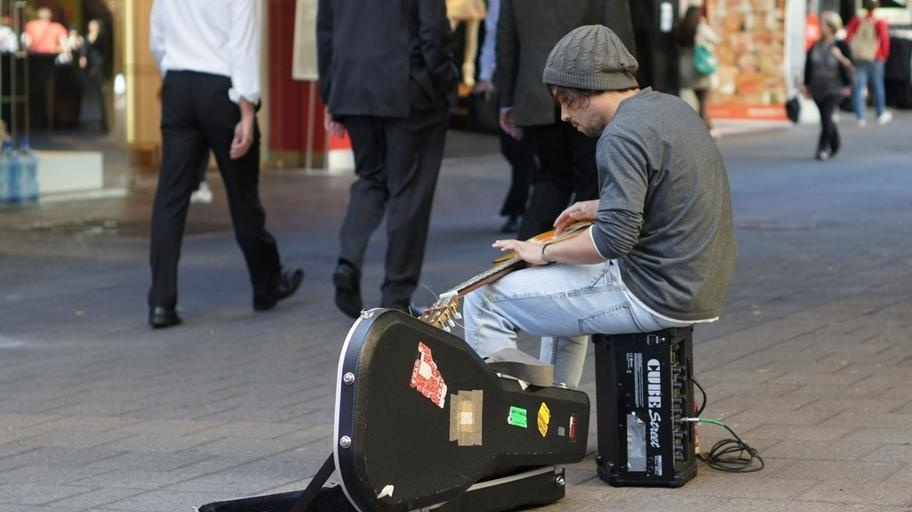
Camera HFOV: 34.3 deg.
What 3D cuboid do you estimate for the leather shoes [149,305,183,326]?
[{"bbox_3d":[-2.058,0.422,10.371,0.250,0.113,0.104,-2,7,-38],"label":"leather shoes"}]

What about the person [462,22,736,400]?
[{"bbox_3d":[0.939,-0.270,9.091,1.523,2.246,0.515,2,13,9],"label":"person"}]

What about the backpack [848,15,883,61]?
[{"bbox_3d":[3.387,-1.811,12.197,0.204,0.340,0.131,13,40,23],"label":"backpack"}]

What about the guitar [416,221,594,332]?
[{"bbox_3d":[0.337,0.092,9.248,1.376,0.144,0.485,-25,37,-32],"label":"guitar"}]

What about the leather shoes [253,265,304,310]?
[{"bbox_3d":[-1.281,0.241,10.732,0.149,0.213,0.472,4,34,37],"label":"leather shoes"}]

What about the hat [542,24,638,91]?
[{"bbox_3d":[0.823,-1.218,9.037,0.509,0.324,0.379,2,6,-2],"label":"hat"}]
